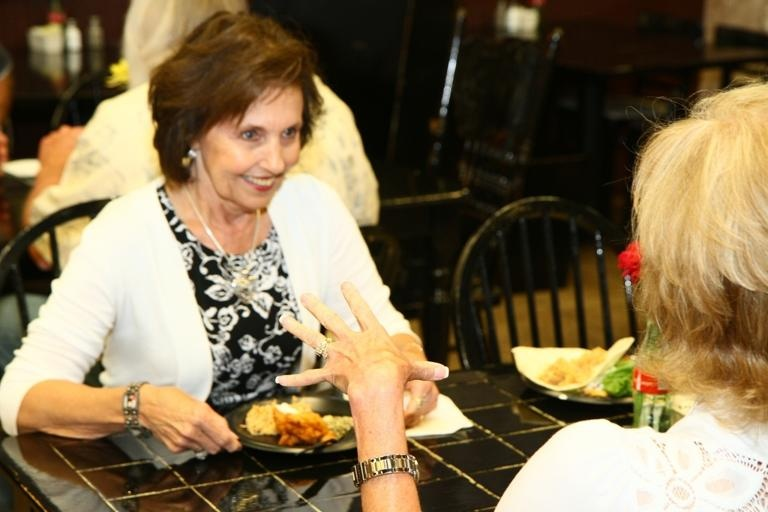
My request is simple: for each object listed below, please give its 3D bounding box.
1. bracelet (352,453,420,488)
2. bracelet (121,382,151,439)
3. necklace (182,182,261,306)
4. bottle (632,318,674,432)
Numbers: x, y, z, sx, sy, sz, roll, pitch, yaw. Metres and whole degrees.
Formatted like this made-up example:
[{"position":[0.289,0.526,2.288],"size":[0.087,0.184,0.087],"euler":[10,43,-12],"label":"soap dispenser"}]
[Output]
[{"position":[0.011,0.392,1.286],"size":[0.110,0.063,0.115],"euler":[-27,-29,32],"label":"bracelet"},{"position":[-0.589,0.367,1.640],"size":[0.049,0.122,0.112],"euler":[1,25,-19],"label":"bracelet"},{"position":[-0.407,-0.092,2.079],"size":[0.186,0.044,0.530],"euler":[2,35,1],"label":"necklace"},{"position":[0.603,0.270,1.589],"size":[0.099,0.250,0.100],"euler":[3,3,0],"label":"bottle"}]
